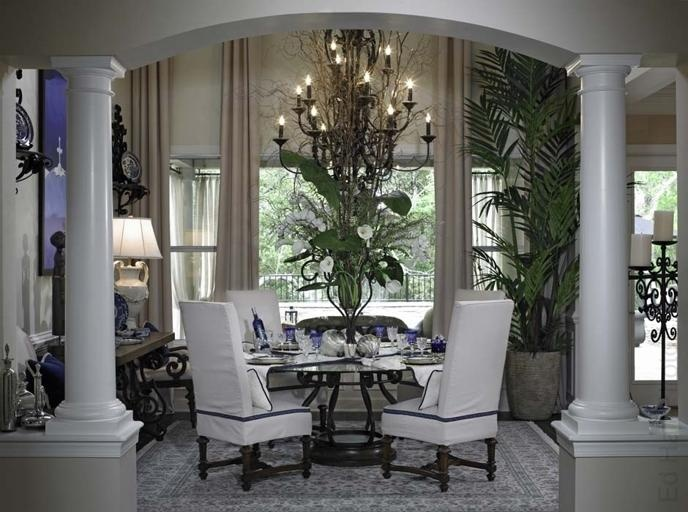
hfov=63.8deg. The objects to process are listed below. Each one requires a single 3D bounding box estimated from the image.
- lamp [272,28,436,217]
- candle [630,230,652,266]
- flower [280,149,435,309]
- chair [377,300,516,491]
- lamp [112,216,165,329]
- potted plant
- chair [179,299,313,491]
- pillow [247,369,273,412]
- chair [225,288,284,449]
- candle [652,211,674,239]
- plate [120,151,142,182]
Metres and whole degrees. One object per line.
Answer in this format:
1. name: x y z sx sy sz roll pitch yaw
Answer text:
1. lamp: 0.061 -1.179 4.638 0.945 1.760 1.006 -3 -9 41
2. candle: 2.062 -0.031 3.837 0.126 0.239 0.148 0 0 31
3. flower: 0.042 -0.010 4.283 1.064 1.096 0.852 9 -16 -25
4. chair: 0.724 0.914 3.858 0.807 1.270 0.901 2 -4 -5
5. lamp: -1.928 0.140 5.215 0.408 1.023 1.050 0 0 -23
6. potted plant: 1.776 -0.361 5.634 1.153 3.888 1.384 0 0 22
7. chair: -0.701 0.910 3.889 0.616 1.200 0.669 -4 -3 40
8. pillow: -0.546 0.878 3.656 0.071 0.249 0.202 -20 19 -38
9. chair: -0.777 0.633 5.011 0.503 0.998 0.523 -2 2 -16
10. candle: 2.186 -0.203 3.783 0.119 0.219 0.111 0 0 28
11. plate: -1.966 -0.825 5.137 0.070 0.263 0.253 -9 14 27
